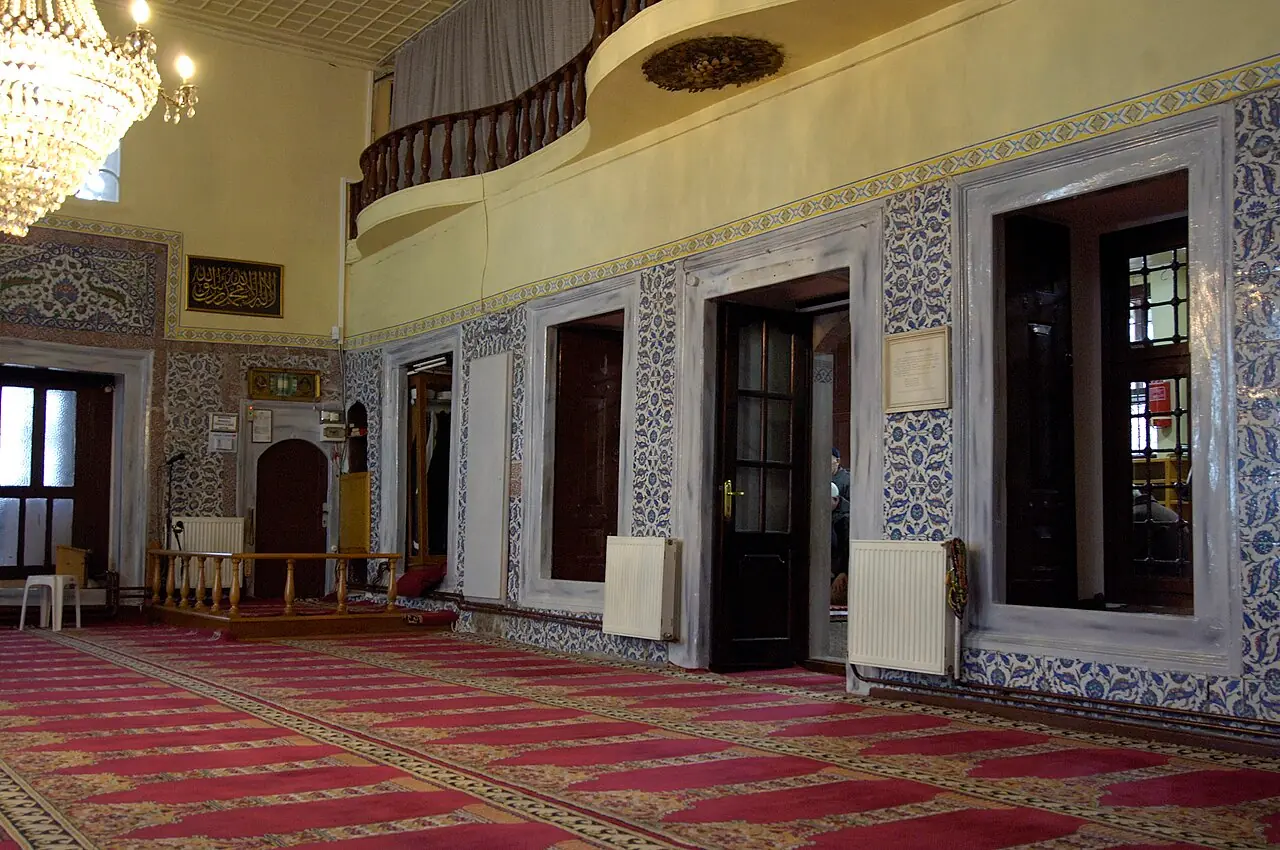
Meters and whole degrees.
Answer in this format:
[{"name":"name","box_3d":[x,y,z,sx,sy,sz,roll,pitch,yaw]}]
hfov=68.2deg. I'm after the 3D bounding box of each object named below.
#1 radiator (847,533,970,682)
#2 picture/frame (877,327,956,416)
[{"name":"radiator","box_3d":[1.951,1.335,6.738,0.363,0.908,0.925,7,-9,-31]},{"name":"picture/frame","box_3d":[2.004,-0.362,6.767,0.051,0.675,0.569,11,-14,-39]}]
